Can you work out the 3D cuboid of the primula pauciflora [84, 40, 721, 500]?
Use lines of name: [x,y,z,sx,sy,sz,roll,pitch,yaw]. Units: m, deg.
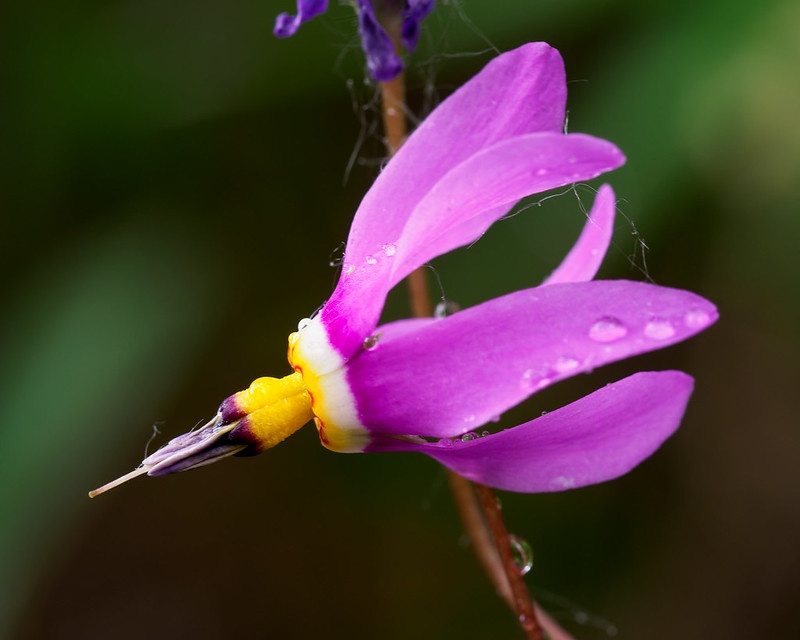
primula pauciflora: [0.080,0.001,1.222,0.705,0.577,0.265,-28,0,15]
